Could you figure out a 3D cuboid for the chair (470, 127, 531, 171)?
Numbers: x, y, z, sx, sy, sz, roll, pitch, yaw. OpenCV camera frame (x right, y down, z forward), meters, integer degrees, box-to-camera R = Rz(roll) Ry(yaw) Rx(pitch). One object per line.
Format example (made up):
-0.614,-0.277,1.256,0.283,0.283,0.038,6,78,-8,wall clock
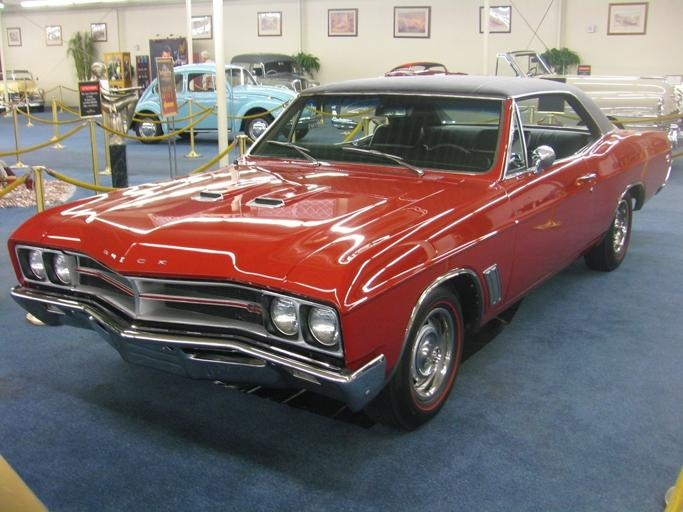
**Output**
1.040,-0.689,3.271,0.396,0.249,0.348,7,8,10,chair

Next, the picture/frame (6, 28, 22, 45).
-17.492,-11.777,26.419,1.056,0.981,0.075,7,16,15,picture/frame

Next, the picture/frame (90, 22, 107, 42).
-12.287,-11.399,25.034,1.071,0.918,0.067,6,19,19,picture/frame

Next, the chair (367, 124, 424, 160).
0.437,-0.816,3.530,0.388,0.252,0.150,6,-6,37,chair
